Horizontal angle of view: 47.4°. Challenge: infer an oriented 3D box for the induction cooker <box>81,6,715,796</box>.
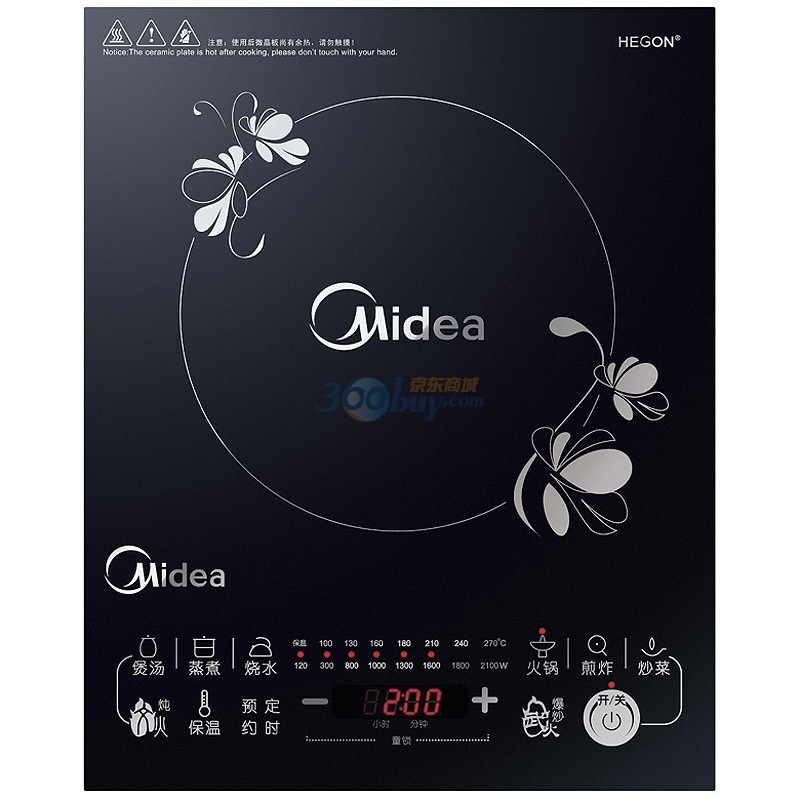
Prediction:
[{"bbox_3d":[-0.009,0.005,1.879,1.176,0.129,1.609,-2,88,-2],"label":"induction cooker"}]
